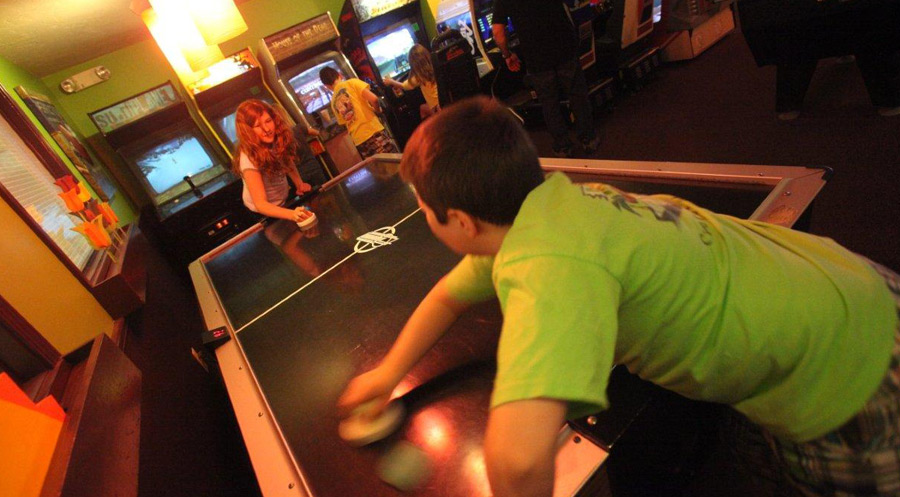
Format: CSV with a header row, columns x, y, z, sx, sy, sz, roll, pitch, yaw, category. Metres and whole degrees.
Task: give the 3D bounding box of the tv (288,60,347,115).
x,y,z,sx,sy,sz,roll,pitch,yaw,category
-1.518,-1.790,5.874,0.624,0.402,0.326,-27,23,-20,tv
